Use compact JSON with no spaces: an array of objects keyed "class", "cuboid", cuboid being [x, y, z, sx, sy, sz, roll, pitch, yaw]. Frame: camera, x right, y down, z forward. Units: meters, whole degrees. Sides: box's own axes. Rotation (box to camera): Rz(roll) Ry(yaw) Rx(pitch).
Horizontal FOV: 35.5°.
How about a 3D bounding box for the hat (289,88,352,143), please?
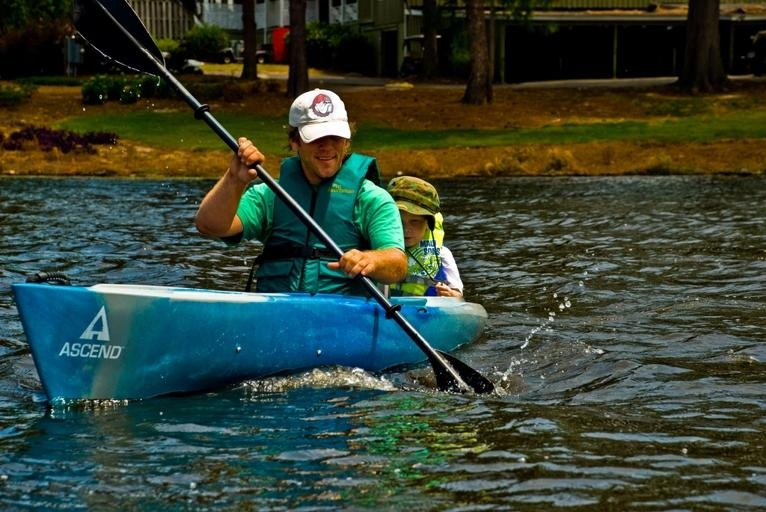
[{"class":"hat","cuboid":[-0.611,-1.304,11.078,0.453,0.313,0.604,-5,14,-24]}]
